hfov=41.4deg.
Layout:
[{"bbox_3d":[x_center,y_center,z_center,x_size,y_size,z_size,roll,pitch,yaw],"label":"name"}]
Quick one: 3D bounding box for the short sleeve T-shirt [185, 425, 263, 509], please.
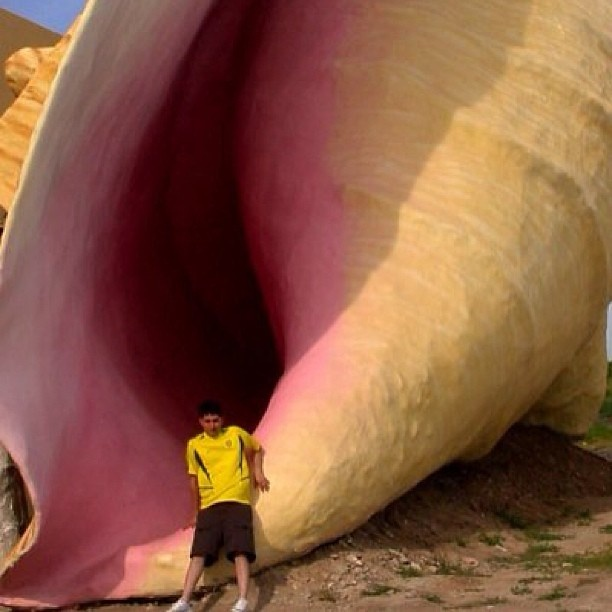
[{"bbox_3d":[-0.306,0.619,2.888,0.253,0.135,0.401,-10,42,-1],"label":"short sleeve T-shirt"}]
